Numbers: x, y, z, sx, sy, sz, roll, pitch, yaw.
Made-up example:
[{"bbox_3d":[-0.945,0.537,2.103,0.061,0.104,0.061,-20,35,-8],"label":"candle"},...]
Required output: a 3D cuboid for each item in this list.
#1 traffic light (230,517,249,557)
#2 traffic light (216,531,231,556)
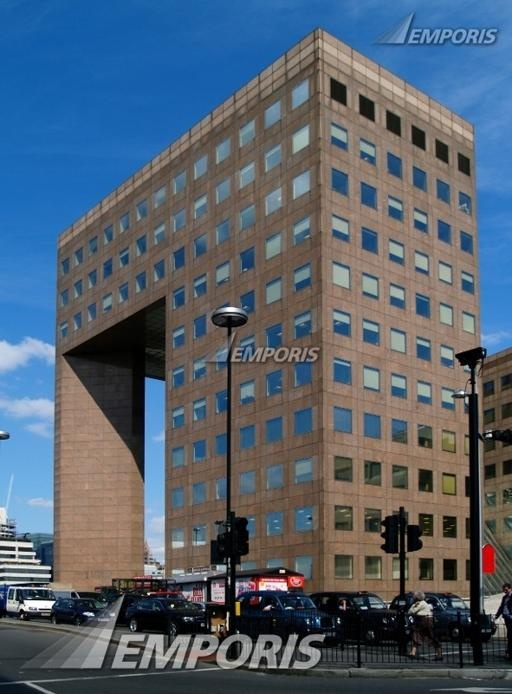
[{"bbox_3d":[-0.424,5.032,30.948,0.423,1.138,0.921,-1,-19,4],"label":"traffic light"},{"bbox_3d":[-0.835,5.251,30.803,0.464,0.624,0.195,-2,3,-17],"label":"traffic light"}]
